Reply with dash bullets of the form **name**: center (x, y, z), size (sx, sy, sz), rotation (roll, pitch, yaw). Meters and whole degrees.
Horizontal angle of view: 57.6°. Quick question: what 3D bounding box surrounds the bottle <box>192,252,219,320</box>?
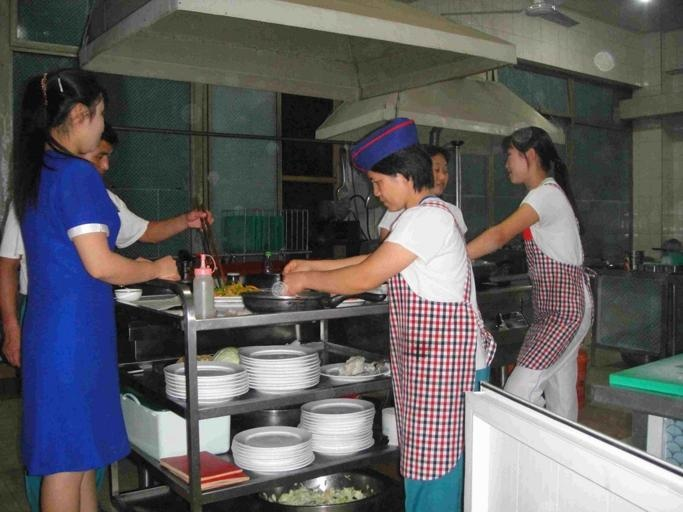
- **bottle**: center (-0.521, 0.114, 2.346), size (0.078, 0.218, 0.139), rotation (-1, 0, -14)

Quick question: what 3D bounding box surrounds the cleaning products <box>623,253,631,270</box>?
- **cleaning products**: center (2.436, 0.052, 5.272), size (0.057, 0.131, 0.382), rotation (-1, 0, 25)

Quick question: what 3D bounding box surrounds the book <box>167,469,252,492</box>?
- **book**: center (-0.510, 0.871, 2.401), size (0.134, 0.019, 0.124), rotation (2, 1, 35)

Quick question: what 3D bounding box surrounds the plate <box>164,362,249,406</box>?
- **plate**: center (-0.539, 0.503, 2.466), size (0.213, 0.078, 0.214), rotation (2, 2, 20)

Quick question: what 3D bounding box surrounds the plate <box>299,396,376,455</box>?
- **plate**: center (-0.023, 0.765, 2.773), size (0.261, 0.120, 0.265), rotation (-1, 0, 44)

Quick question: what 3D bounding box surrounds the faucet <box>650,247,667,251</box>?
- **faucet**: center (2.951, -0.064, 5.765), size (0.085, 0.030, 0.117), rotation (1, -2, 19)

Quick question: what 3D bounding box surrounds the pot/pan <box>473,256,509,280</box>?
- **pot/pan**: center (0.930, 0.087, 3.984), size (0.212, 0.083, 0.233), rotation (-21, -12, 31)

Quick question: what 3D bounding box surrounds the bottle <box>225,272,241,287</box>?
- **bottle**: center (-0.511, 0.114, 2.973), size (0.044, 0.076, 0.076), rotation (0, 0, -3)

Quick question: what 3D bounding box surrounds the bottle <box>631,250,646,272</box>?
- **bottle**: center (2.497, 0.039, 5.212), size (0.098, 0.153, 0.369), rotation (-1, 0, 26)

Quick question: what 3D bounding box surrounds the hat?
- **hat**: center (0.159, -0.389, 2.276), size (0.232, 0.096, 0.180), rotation (-23, 2, 10)
